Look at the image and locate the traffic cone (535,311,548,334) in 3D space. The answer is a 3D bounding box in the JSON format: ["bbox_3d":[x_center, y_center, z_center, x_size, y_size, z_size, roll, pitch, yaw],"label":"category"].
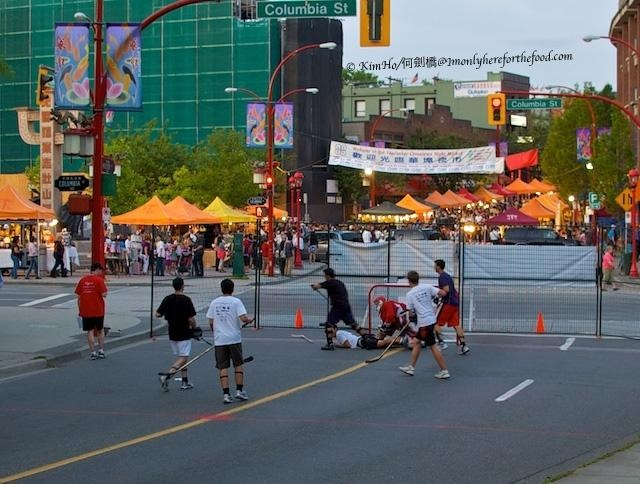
[{"bbox_3d":[5.735,2.130,28.274,0.428,0.659,0.454,1,-6,-11],"label":"traffic cone"}]

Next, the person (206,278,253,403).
[{"bbox_3d":[-1.856,1.991,21.679,0.810,2.287,1.112,0,0,-9],"label":"person"}]

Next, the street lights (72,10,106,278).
[{"bbox_3d":[-5.776,-2.602,27.394,0.529,7.889,0.744,-1,6,-22],"label":"street lights"}]

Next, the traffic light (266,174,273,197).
[{"bbox_3d":[-1.955,-2.203,41.960,0.261,0.872,0.589,-1,7,-8],"label":"traffic light"}]

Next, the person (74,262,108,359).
[{"bbox_3d":[-5.153,1.619,24.873,0.642,2.100,1.034,0,0,4],"label":"person"}]

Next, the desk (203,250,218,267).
[{"bbox_3d":[-4.868,0.711,48.031,0.577,0.662,0.614,0,-3,-7],"label":"desk"}]

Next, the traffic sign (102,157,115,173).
[{"bbox_3d":[-5.521,-1.985,27.801,0.287,0.449,0.357,2,2,23],"label":"traffic sign"}]

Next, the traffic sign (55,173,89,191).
[{"bbox_3d":[-6.257,-1.498,27.434,0.760,0.435,1.081,-5,9,-32],"label":"traffic sign"}]

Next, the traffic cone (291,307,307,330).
[{"bbox_3d":[-0.528,2.074,28.963,0.418,0.616,0.428,3,-6,-44],"label":"traffic cone"}]

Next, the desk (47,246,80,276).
[{"bbox_3d":[-10.211,0.768,43.124,1.004,1.017,1.076,0,-4,-2],"label":"desk"}]

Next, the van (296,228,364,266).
[{"bbox_3d":[0.340,0.213,48.581,2.665,1.021,1.333,3,4,37],"label":"van"}]

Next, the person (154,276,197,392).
[{"bbox_3d":[-2.932,1.932,22.397,0.707,2.262,0.953,0,0,10],"label":"person"}]
